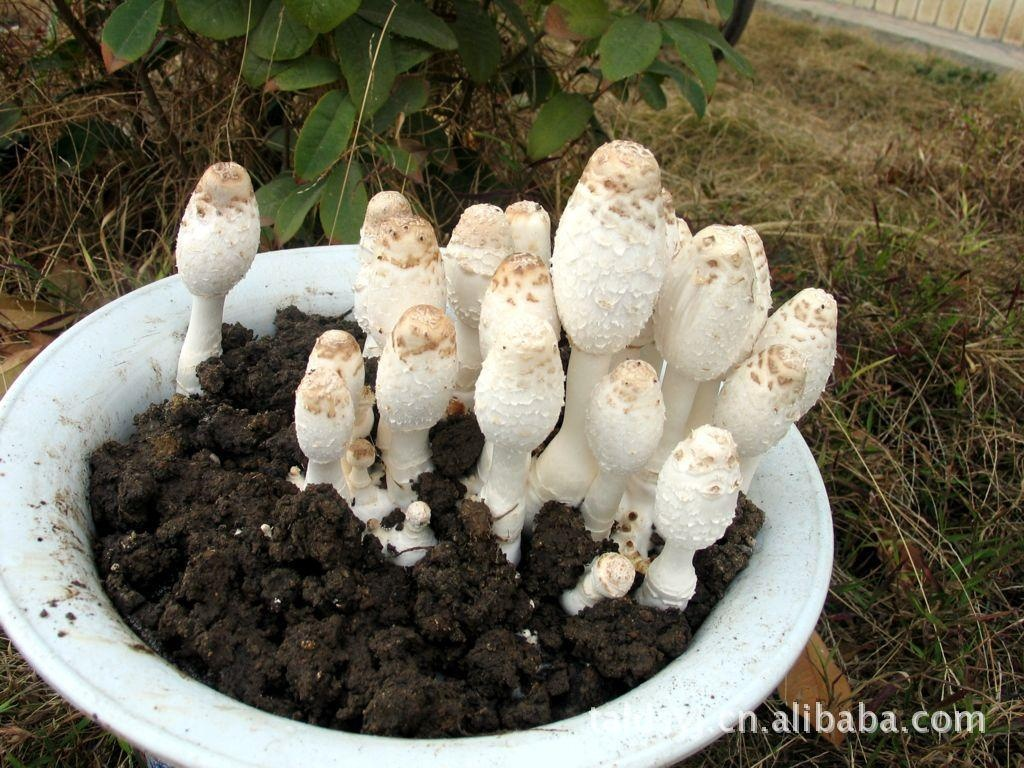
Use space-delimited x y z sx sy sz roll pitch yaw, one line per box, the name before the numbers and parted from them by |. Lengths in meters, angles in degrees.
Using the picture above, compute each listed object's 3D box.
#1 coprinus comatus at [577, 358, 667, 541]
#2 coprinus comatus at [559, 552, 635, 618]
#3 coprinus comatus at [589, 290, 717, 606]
coprinus comatus | 0.314 0.183 2.808 0.205 0.575 0.192 15 47 4
coprinus comatus | 0.258 0.597 2.857 0.118 0.255 0.124 -5 66 -32
coprinus comatus | 0.407 0.180 2.773 0.330 1.175 0.318 12 34 7
